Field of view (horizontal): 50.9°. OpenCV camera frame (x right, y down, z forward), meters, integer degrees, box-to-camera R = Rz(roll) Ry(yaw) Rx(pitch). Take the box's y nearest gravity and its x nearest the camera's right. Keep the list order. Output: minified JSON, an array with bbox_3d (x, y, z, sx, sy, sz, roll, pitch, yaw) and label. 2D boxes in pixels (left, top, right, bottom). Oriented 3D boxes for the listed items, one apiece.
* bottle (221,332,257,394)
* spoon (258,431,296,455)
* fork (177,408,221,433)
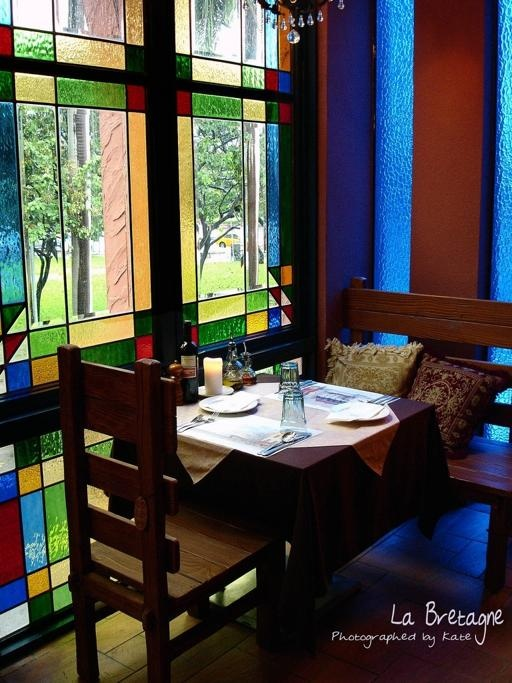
[{"bbox_3d":[-0.097,0.075,2.107,0.129,0.292,0.166,-6,8,-24],"label":"bottle"},{"bbox_3d":[0.057,0.259,1.406,0.033,0.024,0.158,18,6,13],"label":"spoon"},{"bbox_3d":[-0.177,0.227,1.585,0.035,0.015,0.150,16,12,16],"label":"fork"}]
